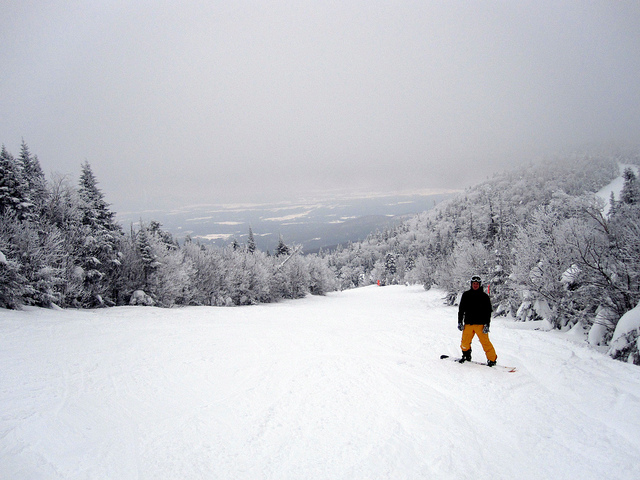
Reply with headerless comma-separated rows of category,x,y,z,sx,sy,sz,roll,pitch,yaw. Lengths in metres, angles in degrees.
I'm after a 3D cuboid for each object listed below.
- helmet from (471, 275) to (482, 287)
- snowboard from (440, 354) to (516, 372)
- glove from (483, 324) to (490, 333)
helmet,5.069,1.324,13.793,0.269,0.430,0.379,-4,-8,24
snowboard,5.118,4.022,13.785,2.008,0.171,0.334,-4,3,35
glove,5.397,2.870,13.758,0.145,0.305,0.499,2,-2,33
